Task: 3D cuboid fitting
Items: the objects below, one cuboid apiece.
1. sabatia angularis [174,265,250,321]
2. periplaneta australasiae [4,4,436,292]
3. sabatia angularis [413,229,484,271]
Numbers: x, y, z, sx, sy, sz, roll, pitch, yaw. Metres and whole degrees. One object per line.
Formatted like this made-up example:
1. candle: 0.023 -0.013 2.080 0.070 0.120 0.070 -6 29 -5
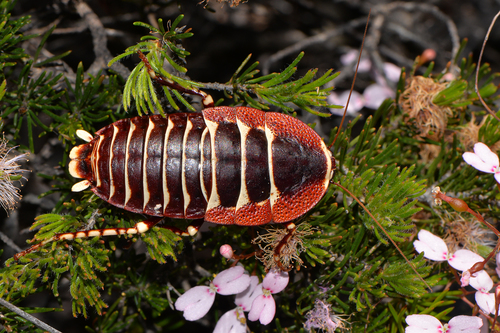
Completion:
1. sabatia angularis: -0.293 1.008 3.994 0.600 0.357 0.202 -21 58 -16
2. periplaneta australasiae: -0.272 -0.081 4.478 2.981 0.803 2.345 -5 63 -23
3. sabatia angularis: 1.490 0.669 3.956 0.648 0.094 0.242 22 65 -15
